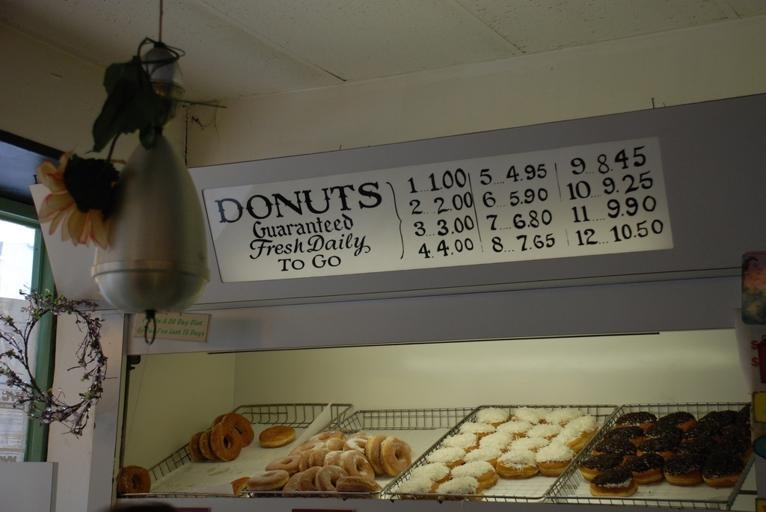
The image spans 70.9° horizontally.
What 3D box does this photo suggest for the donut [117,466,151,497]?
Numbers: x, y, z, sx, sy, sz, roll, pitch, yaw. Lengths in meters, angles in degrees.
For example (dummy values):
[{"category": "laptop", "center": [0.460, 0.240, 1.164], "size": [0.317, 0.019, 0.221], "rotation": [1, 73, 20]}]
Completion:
[{"category": "donut", "center": [-1.233, 1.095, 2.641], "size": [0.044, 0.150, 0.153], "rotation": [-7, -8, 33]}]
